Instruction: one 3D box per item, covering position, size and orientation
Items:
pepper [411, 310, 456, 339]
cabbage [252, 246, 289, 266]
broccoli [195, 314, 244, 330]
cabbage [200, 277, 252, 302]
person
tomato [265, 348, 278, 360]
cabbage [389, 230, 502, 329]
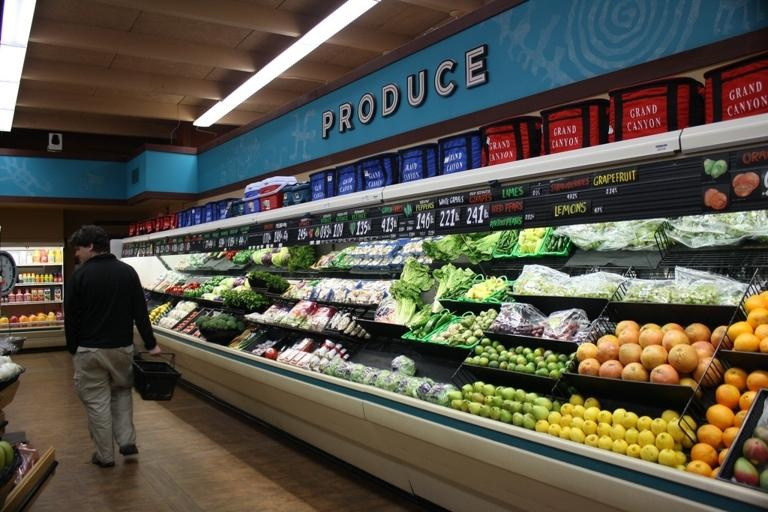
[{"bbox_3d":[0.401,0.582,3.711,0.327,0.103,0.212,-30,15,-16],"label":"pepper"},{"bbox_3d":[-1.694,0.005,6.598,0.597,0.274,0.159,0,-8,44],"label":"cabbage"},{"bbox_3d":[-2.074,0.827,5.481,0.318,0.085,0.282,6,-3,22],"label":"broccoli"},{"bbox_3d":[-2.485,0.488,6.888,0.590,0.122,0.566,3,25,25],"label":"cabbage"},{"bbox_3d":[-2.822,0.898,4.479,0.741,2.267,0.924,-10,-9,41],"label":"person"},{"bbox_3d":[-1.204,1.053,4.645,0.106,0.091,0.104,-3,-6,43],"label":"tomato"},{"bbox_3d":[0.517,0.152,4.109,0.738,0.819,0.981,-7,9,-40],"label":"cabbage"}]
